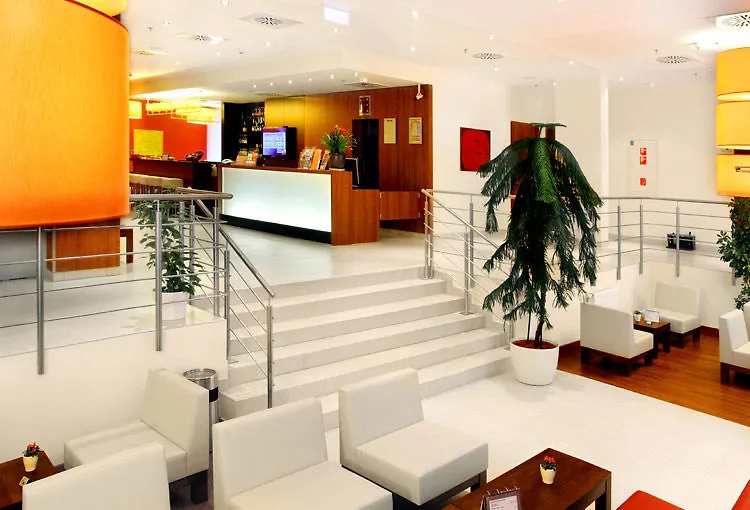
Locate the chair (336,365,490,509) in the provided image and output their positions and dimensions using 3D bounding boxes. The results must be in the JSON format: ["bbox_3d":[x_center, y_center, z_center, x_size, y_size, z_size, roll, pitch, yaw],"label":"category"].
[{"bbox_3d":[0.250,1.314,4.101,1.024,1.020,1.030,-6,6,-41],"label":"chair"}]

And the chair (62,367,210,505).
[{"bbox_3d":[-1.957,1.356,3.917,0.991,1.034,1.036,4,2,-38],"label":"chair"}]

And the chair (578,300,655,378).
[{"bbox_3d":[3.223,1.038,6.856,0.889,0.967,0.898,-7,9,-39],"label":"chair"}]

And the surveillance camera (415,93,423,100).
[{"bbox_3d":[0.868,-3.094,9.695,0.107,0.167,0.163,11,-20,-18],"label":"surveillance camera"}]

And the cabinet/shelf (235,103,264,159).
[{"bbox_3d":[-3.676,-3.820,14.602,0.439,1.305,1.352,-6,11,-34],"label":"cabinet/shelf"}]

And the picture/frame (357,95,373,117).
[{"bbox_3d":[-0.217,-3.280,10.794,0.458,0.637,0.071,6,8,42],"label":"picture/frame"}]

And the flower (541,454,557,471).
[{"bbox_3d":[1.226,1.467,3.460,0.088,0.083,0.086,-15,19,-43],"label":"flower"}]

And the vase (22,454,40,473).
[{"bbox_3d":[-2.314,1.398,3.296,0.118,0.114,0.101,2,3,0],"label":"vase"}]

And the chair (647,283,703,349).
[{"bbox_3d":[4.732,0.995,7.714,0.671,0.918,0.858,-4,6,-32],"label":"chair"}]

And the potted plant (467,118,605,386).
[{"bbox_3d":[1.939,0.116,5.913,1.339,2.962,0.794,4,10,19],"label":"potted plant"}]

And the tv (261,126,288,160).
[{"bbox_3d":[-2.566,-2.866,12.555,0.170,0.733,0.870,-9,13,-44],"label":"tv"}]

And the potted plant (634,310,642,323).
[{"bbox_3d":[4.097,0.965,7.675,0.105,0.112,0.102,-6,9,-37],"label":"potted plant"}]
